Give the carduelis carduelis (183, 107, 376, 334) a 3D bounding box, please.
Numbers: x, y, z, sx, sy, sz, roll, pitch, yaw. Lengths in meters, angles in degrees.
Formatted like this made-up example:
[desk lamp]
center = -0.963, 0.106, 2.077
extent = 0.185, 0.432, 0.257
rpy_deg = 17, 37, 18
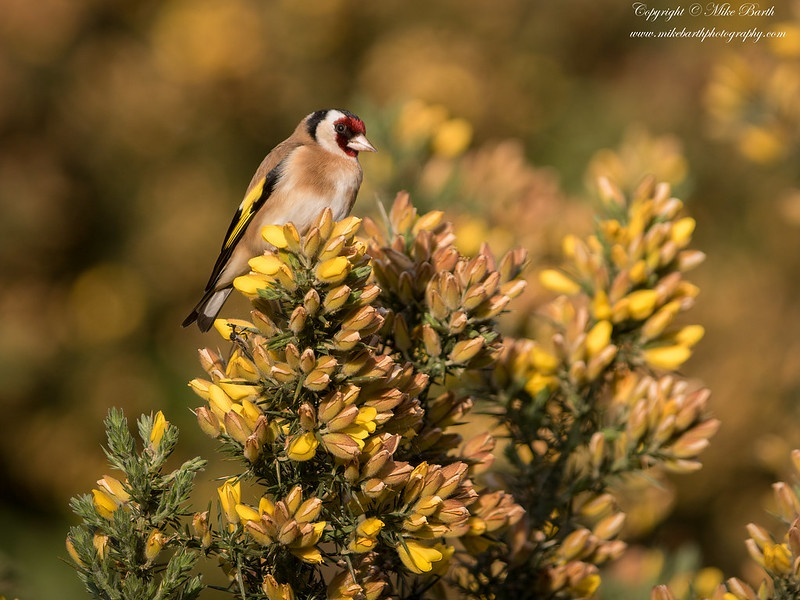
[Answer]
[carduelis carduelis]
center = -0.511, -0.342, 4.212
extent = 0.929, 0.712, 0.390
rpy_deg = -14, -18, 23
